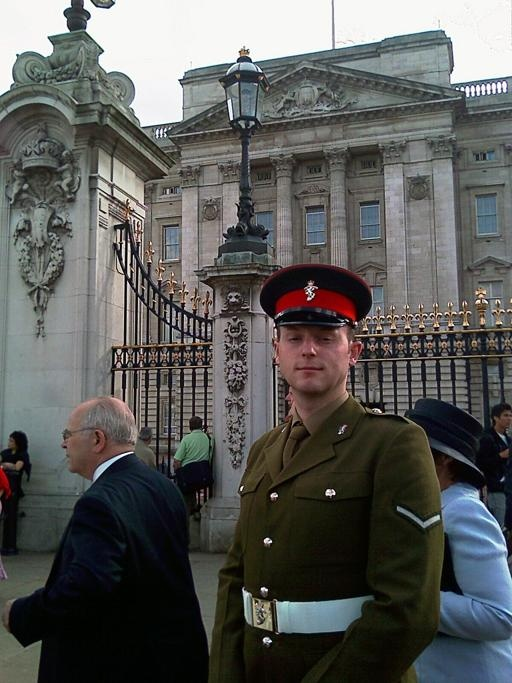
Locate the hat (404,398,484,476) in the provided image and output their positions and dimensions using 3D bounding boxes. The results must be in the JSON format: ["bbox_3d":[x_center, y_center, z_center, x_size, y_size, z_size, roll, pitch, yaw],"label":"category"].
[{"bbox_3d":[0.779,0.367,3.657,0.357,0.175,0.323,30,-7,-11],"label":"hat"}]

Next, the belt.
[{"bbox_3d":[0.162,0.890,2.962,0.556,0.141,0.126,-6,-9,39],"label":"belt"}]
